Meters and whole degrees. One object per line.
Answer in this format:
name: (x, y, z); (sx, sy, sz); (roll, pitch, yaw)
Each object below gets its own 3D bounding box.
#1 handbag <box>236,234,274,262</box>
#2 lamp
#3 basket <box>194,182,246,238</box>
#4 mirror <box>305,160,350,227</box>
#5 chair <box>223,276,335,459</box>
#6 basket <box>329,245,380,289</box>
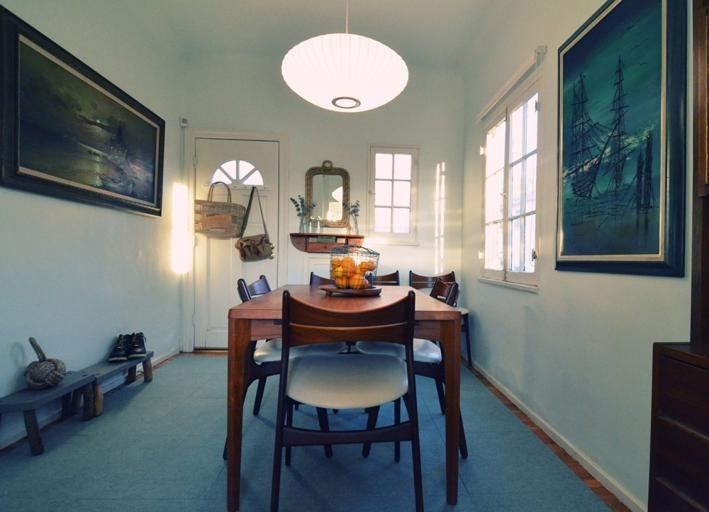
handbag: (-0.977, -0.086, 4.864); (0.240, 0.140, 0.309); (-4, -2, 3)
lamp: (-0.068, -1.247, 3.463); (0.611, 0.734, 0.616); (-1, -4, 45)
basket: (-1.242, -0.438, 4.865); (0.526, 0.587, 0.420); (3, 3, 5)
mirror: (-0.295, -0.649, 5.099); (0.615, 1.044, 0.051); (0, 1, -7)
chair: (-0.602, 0.701, 3.562); (0.914, 1.450, 0.948); (1, -3, 2)
basket: (-0.008, 0.075, 3.401); (0.302, 0.297, 0.321); (0, 4, -9)
